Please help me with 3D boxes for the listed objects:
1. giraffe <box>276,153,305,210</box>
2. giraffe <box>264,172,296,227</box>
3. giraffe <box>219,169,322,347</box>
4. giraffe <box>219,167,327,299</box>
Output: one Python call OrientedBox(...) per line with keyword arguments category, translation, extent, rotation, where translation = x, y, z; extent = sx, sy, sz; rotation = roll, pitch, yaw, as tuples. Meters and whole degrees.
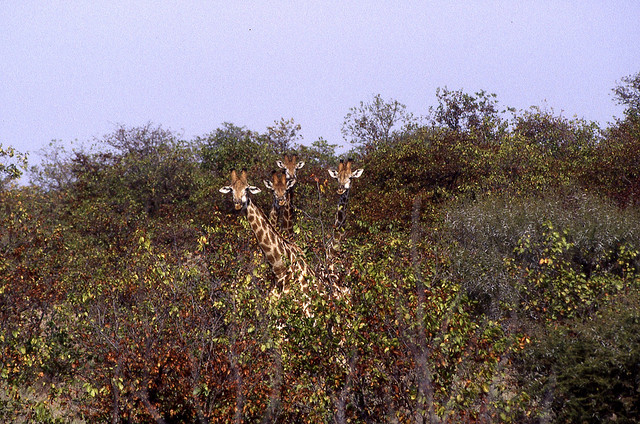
OrientedBox(category="giraffe", translation=(-1.241, -1.813, 23.868), extent=(0.908, 2.331, 1.559), rotation=(2, -65, -3))
OrientedBox(category="giraffe", translation=(-1.801, -1.138, 23.149), extent=(0.795, 2.918, 2.114), rotation=(-5, -58, -11))
OrientedBox(category="giraffe", translation=(-1.538, 1.877, 19.596), extent=(2.723, 6.525, 3.934), rotation=(-1, -41, -4))
OrientedBox(category="giraffe", translation=(-1.765, 1.163, 20.159), extent=(1.912, 5.111, 3.665), rotation=(-24, -44, 22))
